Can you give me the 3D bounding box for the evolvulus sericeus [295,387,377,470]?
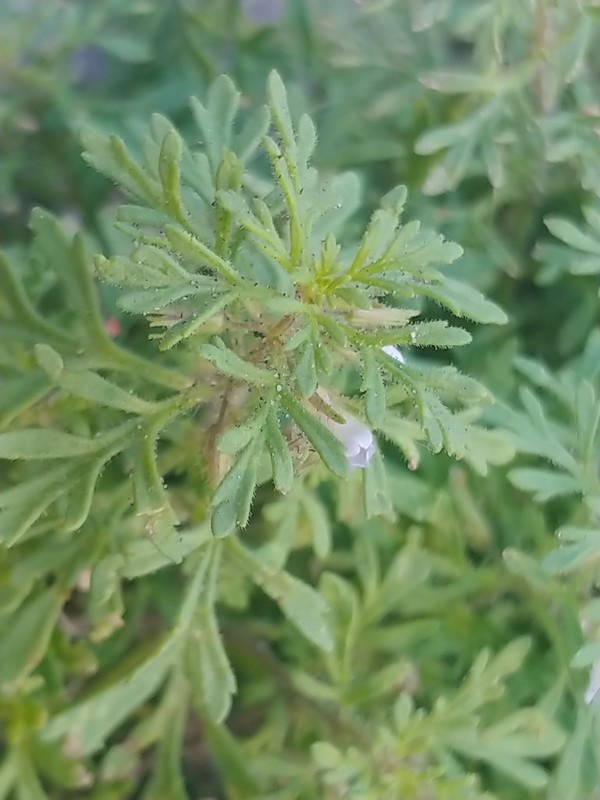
[{"bbox_3d":[0.029,0.013,0.815,0.056,0.045,0.101,-15,71,-49],"label":"evolvulus sericeus"}]
